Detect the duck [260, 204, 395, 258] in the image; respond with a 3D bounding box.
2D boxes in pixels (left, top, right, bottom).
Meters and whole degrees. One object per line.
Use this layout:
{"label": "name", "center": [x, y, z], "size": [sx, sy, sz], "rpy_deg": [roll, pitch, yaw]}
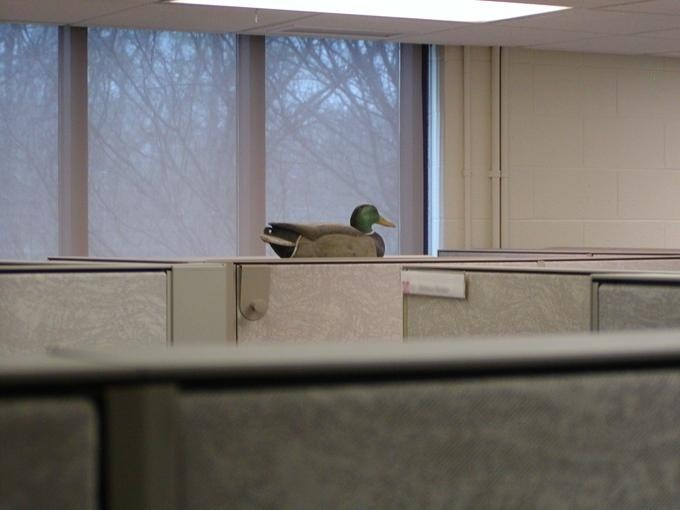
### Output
{"label": "duck", "center": [-0.024, -0.069, 1.631], "size": [0.280, 0.153, 0.117], "rpy_deg": [-2, 3, -21]}
